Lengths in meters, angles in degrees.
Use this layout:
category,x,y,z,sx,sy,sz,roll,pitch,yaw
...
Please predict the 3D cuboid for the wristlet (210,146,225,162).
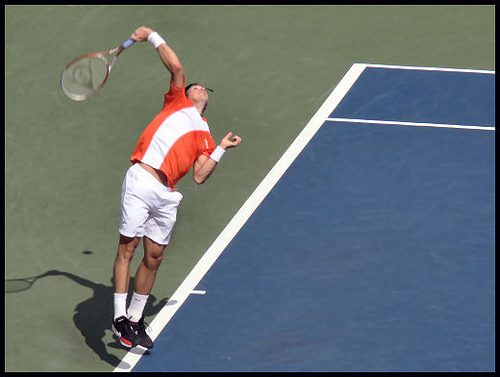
category,x,y,z,sx,sy,sz,roll,pitch,yaw
wristlet,-0.426,-0.471,12.259,0.177,0.200,0.192,44,-11,8
